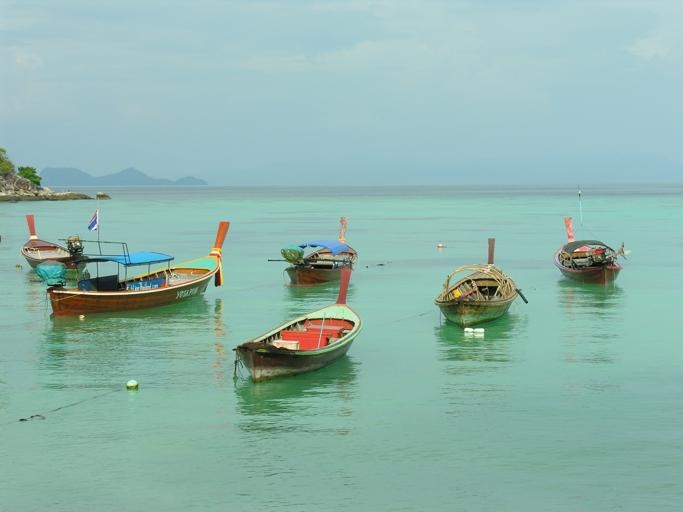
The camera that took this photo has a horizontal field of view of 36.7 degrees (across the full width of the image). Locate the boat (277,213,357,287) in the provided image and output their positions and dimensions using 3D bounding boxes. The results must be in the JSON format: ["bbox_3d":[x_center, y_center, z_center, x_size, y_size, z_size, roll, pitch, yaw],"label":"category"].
[{"bbox_3d":[-1.523,0.486,71.285,2.668,2.410,8.213,1,0,24],"label":"boat"}]

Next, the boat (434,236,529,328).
[{"bbox_3d":[7.463,2.108,56.248,3.528,2.963,5.174,4,12,17],"label":"boat"}]

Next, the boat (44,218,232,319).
[{"bbox_3d":[-12.785,1.530,60.993,4.685,3.850,16.814,10,12,41],"label":"boat"}]

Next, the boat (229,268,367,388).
[{"bbox_3d":[-1.683,4.117,48.154,3.373,2.083,6.662,5,11,23],"label":"boat"}]
